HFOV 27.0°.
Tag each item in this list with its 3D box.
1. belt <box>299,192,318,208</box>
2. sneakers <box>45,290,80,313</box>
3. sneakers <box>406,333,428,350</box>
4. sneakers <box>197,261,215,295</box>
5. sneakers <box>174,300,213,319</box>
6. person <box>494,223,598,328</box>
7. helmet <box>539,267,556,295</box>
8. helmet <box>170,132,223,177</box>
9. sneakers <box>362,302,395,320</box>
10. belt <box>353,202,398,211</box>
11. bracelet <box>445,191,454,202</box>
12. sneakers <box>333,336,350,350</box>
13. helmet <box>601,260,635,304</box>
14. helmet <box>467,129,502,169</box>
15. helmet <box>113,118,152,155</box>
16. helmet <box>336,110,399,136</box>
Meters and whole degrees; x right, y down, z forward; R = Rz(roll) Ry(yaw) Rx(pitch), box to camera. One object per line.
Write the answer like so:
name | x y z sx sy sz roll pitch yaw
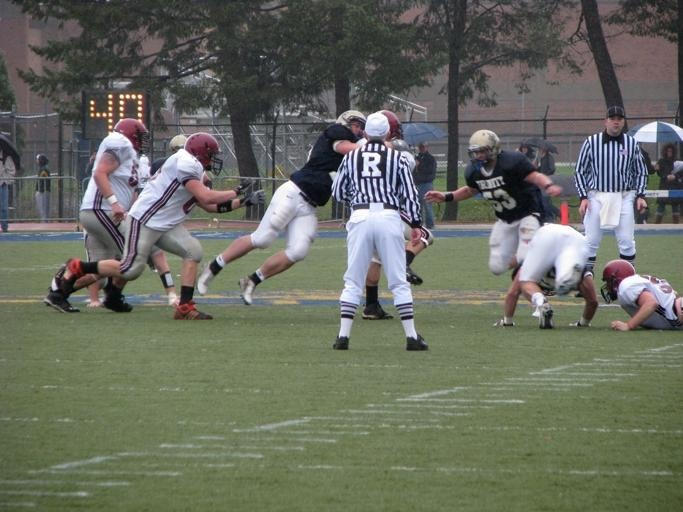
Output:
belt | -0.384 -0.684 16.974 0.195 0.068 0.142 35 2 -13
sneakers | -3.401 0.550 17.430 0.340 0.227 0.109 23 17 -16
sneakers | 0.802 0.931 15.171 0.111 0.126 0.280 2 4 42
sneakers | -1.646 0.267 17.298 0.198 0.411 0.153 -2 -10 31
sneakers | -1.692 0.643 16.960 0.551 0.213 0.171 0 3 -5
person | 2.408 0.229 16.751 1.258 1.069 1.993 -1 -8 6
helmet | 2.372 0.298 16.374 0.117 0.264 0.211 -1 2 -23
helmet | -1.674 -1.270 17.209 0.597 0.498 0.452 9 10 -16
sneakers | 0.396 0.663 17.188 0.447 0.191 0.149 -3 7 -20
belt | 0.360 -0.540 15.147 0.467 0.076 0.093 -1 2 1
bracelet | 1.304 -0.725 17.250 0.113 0.110 0.121 -10 15 -27
sneakers | 0.004 0.919 15.273 0.168 0.146 0.168 -1 2 -2
helmet | 3.174 0.220 16.284 0.408 0.373 0.303 3 14 25
helmet | 1.655 -1.236 16.475 0.377 0.473 0.332 -1 2 5
helmet | -2.531 -1.553 17.471 0.468 0.369 0.373 1 20 -18
helmet | 0.342 -1.581 17.022 0.543 0.230 0.392 -1 17 5
